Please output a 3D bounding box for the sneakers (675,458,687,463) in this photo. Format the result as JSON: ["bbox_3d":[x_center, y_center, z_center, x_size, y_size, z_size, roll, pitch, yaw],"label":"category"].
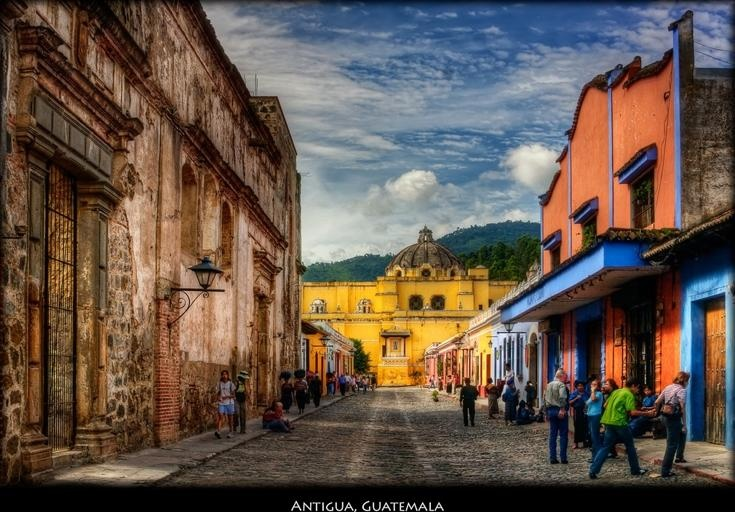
[{"bbox_3d":[6.057,3.963,18.794,0.255,0.110,0.086,2,0,-21],"label":"sneakers"}]

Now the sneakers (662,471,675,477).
[{"bbox_3d":[5.537,4.052,17.906,0.163,0.099,0.415,-12,-19,39],"label":"sneakers"}]

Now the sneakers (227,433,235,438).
[{"bbox_3d":[-3.383,4.454,23.976,0.087,0.117,0.260,-1,-18,-2],"label":"sneakers"}]

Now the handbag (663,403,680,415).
[{"bbox_3d":[5.729,2.912,18.398,0.255,0.182,0.243,3,15,-10],"label":"handbag"}]

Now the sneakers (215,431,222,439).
[{"bbox_3d":[-3.656,4.445,23.771,0.111,0.121,0.261,-2,-55,5],"label":"sneakers"}]
